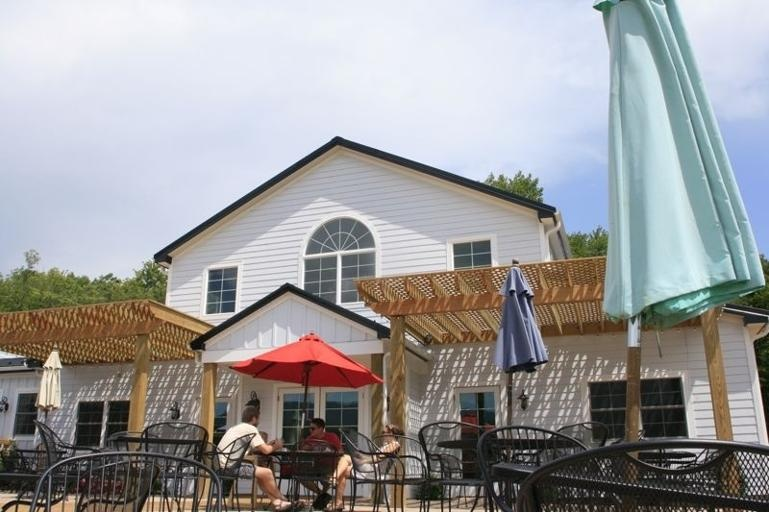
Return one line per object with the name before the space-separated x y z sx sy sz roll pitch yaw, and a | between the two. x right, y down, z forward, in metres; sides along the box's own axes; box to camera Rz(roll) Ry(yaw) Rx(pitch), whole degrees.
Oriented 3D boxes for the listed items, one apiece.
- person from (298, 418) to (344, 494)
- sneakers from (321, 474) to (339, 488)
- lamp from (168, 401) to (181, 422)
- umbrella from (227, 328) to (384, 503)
person | -1.181 3.822 15.075 0.731 1.609 0.896 -18 -21 24
sneakers | -0.963 4.083 14.510 0.290 0.259 0.251 8 -19 3
lamp | -5.384 4.006 20.816 0.319 0.491 0.130 -3 -19 11
umbrella | -1.620 2.824 16.786 2.534 2.003 2.531 5 2 -32
